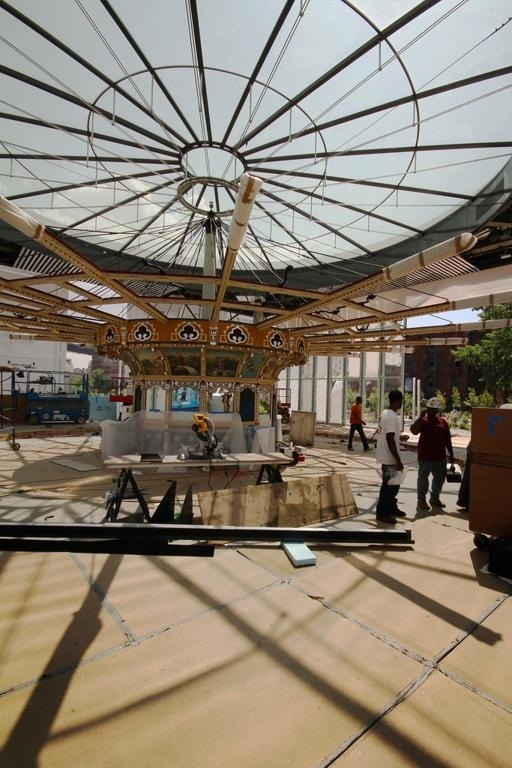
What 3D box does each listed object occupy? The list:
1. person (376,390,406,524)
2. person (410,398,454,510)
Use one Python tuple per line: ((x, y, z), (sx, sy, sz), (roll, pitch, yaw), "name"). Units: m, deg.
((1.954, 1.094, 7.070), (0.361, 1.972, 0.622), (1, -1, 14), "person")
((3.025, 1.231, 8.297), (0.670, 1.892, 1.515), (1, -1, 22), "person")
